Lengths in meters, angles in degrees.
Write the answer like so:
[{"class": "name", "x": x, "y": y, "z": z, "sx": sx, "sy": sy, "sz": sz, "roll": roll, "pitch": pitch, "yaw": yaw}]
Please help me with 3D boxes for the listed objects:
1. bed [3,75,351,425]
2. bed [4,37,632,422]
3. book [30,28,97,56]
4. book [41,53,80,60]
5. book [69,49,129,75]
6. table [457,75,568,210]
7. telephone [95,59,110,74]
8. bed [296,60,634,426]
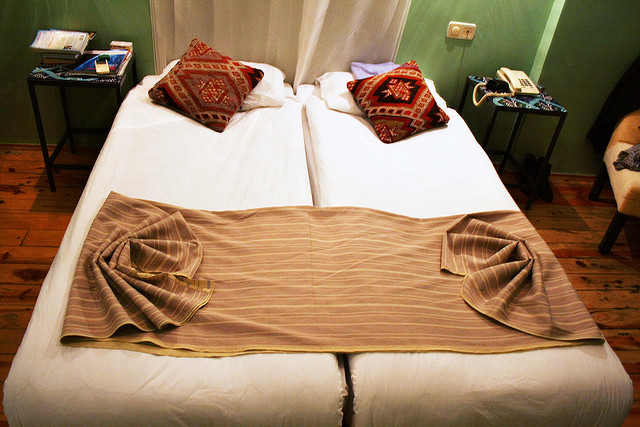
[{"class": "bed", "x": -0.666, "y": 0.199, "z": 2.387, "sx": 1.341, "sy": 0.791, "sz": 1.637, "roll": 2, "pitch": 29, "yaw": -13}, {"class": "bed", "x": -0.130, "y": 0.051, "z": 2.541, "sx": 2.467, "sy": 1.025, "sz": 2.206, "roll": 1, "pitch": 29, "yaw": -15}, {"class": "book", "x": -1.714, "y": -1.144, "z": 3.181, "sx": 0.244, "sy": 0.065, "sz": 0.255, "roll": 0, "pitch": 46, "yaw": -2}, {"class": "book", "x": -1.721, "y": -1.050, "z": 3.186, "sx": 0.234, "sy": 0.048, "sz": 0.057, "roll": 3, "pitch": 28, "yaw": -11}, {"class": "book", "x": -1.486, "y": -1.041, "z": 3.246, "sx": 0.227, "sy": 0.038, "sz": 0.262, "roll": -5, "pitch": 47, "yaw": -4}, {"class": "table", "x": 1.606, "y": -0.528, "z": 3.648, "sx": 0.498, "sy": 0.684, "sz": 0.505, "roll": 6, "pitch": 29, "yaw": 17}, {"class": "telephone", "x": -1.440, "y": -0.979, "z": 3.171, "sx": 0.084, "sy": 0.042, "sz": 0.128, "roll": -8, "pitch": 48, "yaw": -14}, {"class": "bed", "x": 0.531, "y": 0.114, "z": 2.939, "sx": 1.164, "sy": 0.870, "sz": 2.379, "roll": -5, "pitch": 52, "yaw": -7}]
